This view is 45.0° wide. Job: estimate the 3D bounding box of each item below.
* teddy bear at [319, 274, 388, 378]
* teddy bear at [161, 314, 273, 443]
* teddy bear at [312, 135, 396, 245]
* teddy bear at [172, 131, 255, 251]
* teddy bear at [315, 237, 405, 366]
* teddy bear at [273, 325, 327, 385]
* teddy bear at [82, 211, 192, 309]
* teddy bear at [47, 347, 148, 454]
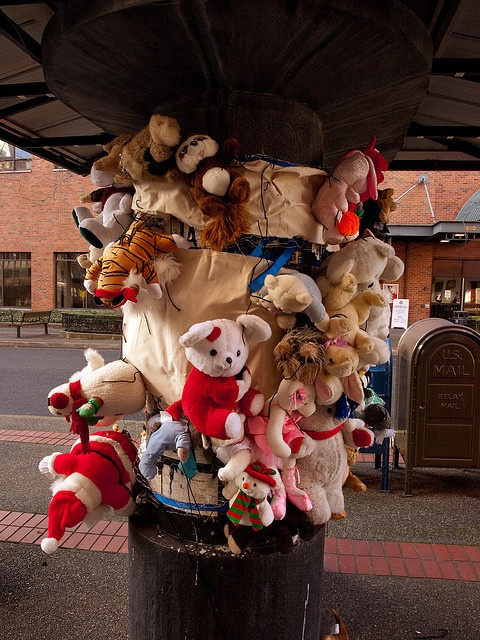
[{"bbox_3d":[0.431,0.014,2.176,0.333,0.271,0.198,1,2,-42],"label":"teddy bear"},{"bbox_3d":[-0.067,0.192,2.262,0.474,0.508,0.435,4,2,31],"label":"teddy bear"},{"bbox_3d":[0.426,-0.487,2.265,0.253,0.290,0.258,2,1,17],"label":"teddy bear"},{"bbox_3d":[-0.100,-0.474,2.131,0.279,0.439,0.191,2,1,-7],"label":"teddy bear"},{"bbox_3d":[0.457,-0.124,2.318,0.379,0.389,0.336,4,6,-39],"label":"teddy bear"},{"bbox_3d":[0.238,0.134,2.082,0.238,0.121,0.231,5,21,0],"label":"teddy bear"},{"bbox_3d":[-0.353,-0.192,2.291,0.367,0.356,0.132,27,-14,25],"label":"teddy bear"},{"bbox_3d":[-0.545,0.309,2.382,0.460,0.340,0.310,-14,-14,9],"label":"teddy bear"}]
